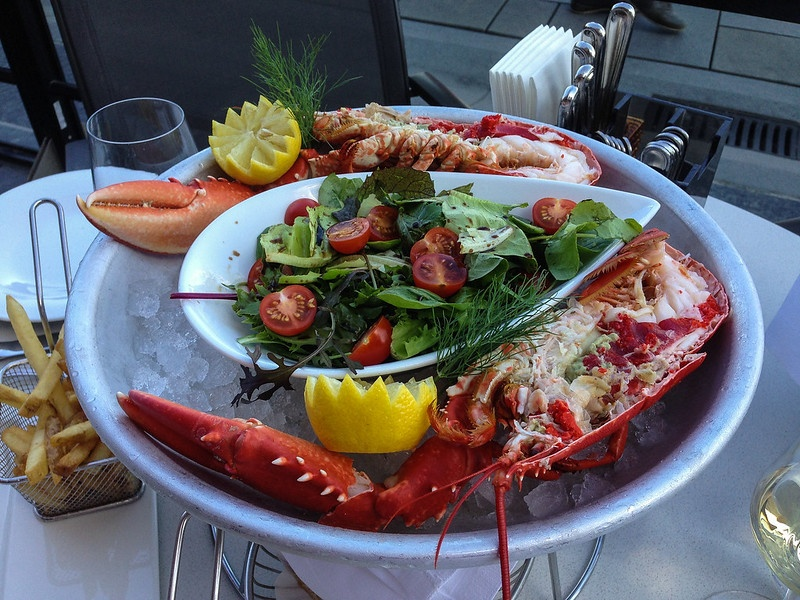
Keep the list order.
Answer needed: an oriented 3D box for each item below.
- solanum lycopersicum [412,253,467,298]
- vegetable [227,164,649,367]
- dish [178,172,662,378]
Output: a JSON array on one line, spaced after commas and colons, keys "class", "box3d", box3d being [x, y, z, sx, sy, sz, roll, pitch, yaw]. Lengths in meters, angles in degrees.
[{"class": "solanum lycopersicum", "box3d": [0.053, -0.039, 0.889, 0.064, 0.040, 0.064, 19, 56, 3]}, {"class": "vegetable", "box3d": [0.047, -0.042, 0.914, 0.499, 0.077, 0.312, -14, 55, -7]}, {"class": "dish", "box3d": [0.006, -0.040, 1.070, 0.582, 0.084, 0.356, -10, 45, -6]}]
